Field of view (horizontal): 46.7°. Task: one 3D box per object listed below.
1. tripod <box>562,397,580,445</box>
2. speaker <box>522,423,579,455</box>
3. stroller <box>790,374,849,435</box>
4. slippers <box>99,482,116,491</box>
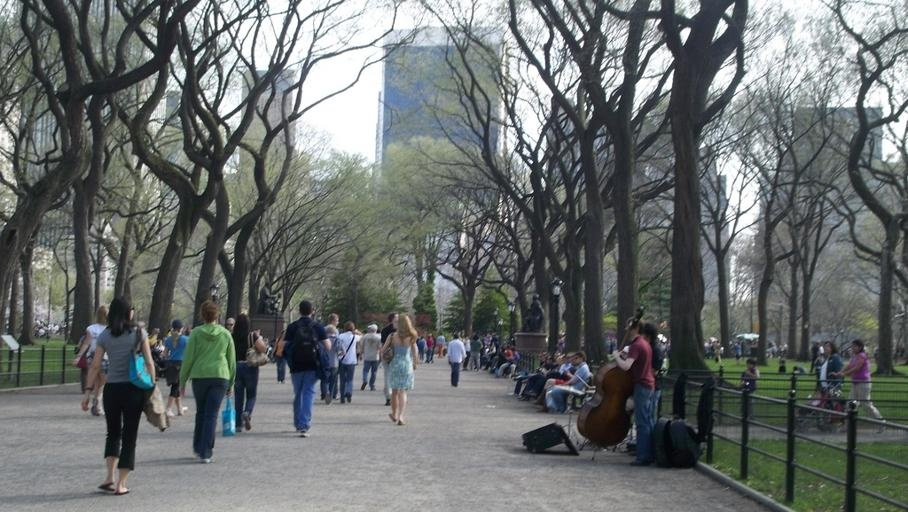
[{"bbox_3d":[3.812,5.637,34.458,0.308,1.161,0.739,-5,-6,22],"label":"tripod"},{"bbox_3d":[2.850,5.612,31.884,1.327,0.664,1.008,-11,-8,8],"label":"speaker"},{"bbox_3d":[11.657,4.795,33.599,1.356,1.797,1.053,1,0,12],"label":"stroller"},{"bbox_3d":[-9.325,6.238,28.184,0.487,0.188,0.189,2,-6,26],"label":"slippers"}]
